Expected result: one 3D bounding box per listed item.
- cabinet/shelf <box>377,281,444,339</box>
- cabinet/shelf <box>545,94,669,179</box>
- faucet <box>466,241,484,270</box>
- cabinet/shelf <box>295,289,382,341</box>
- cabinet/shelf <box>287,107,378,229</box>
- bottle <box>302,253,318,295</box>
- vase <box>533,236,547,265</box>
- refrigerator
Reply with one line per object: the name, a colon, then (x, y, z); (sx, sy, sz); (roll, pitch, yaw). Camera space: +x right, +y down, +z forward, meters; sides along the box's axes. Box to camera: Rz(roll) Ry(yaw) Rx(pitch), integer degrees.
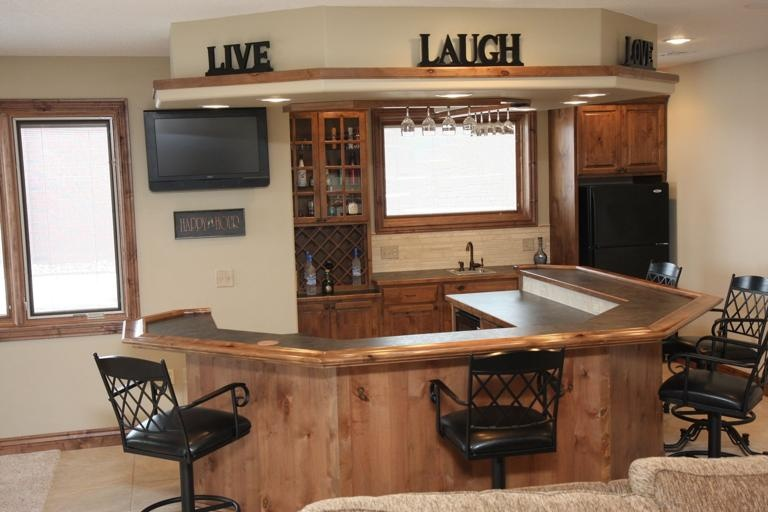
cabinet/shelf: (0.418, 0.752, 7.003); (0.834, 0.665, 0.511); (-11, -37, 18)
cabinet/shelf: (2.546, -1.344, 7.347); (1.565, 1.072, 0.747); (-7, 8, -29)
faucet: (1.062, -0.013, 7.289); (0.215, 0.309, 0.382); (-4, 8, 7)
cabinet/shelf: (-0.491, 0.635, 6.529); (0.693, 0.506, 0.242); (-1, 4, -10)
cabinet/shelf: (-0.596, -0.962, 6.859); (0.926, 1.220, 0.295); (-6, 9, -4)
bottle: (-0.835, 0.179, 6.918); (0.142, 0.454, 0.326); (-7, 8, -5)
vase: (1.859, -0.061, 7.390); (0.178, 0.316, 0.373); (-3, 8, 14)
refrigerator: (2.732, -0.280, 7.030); (1.094, 1.085, 0.272); (-6, 9, -8)
